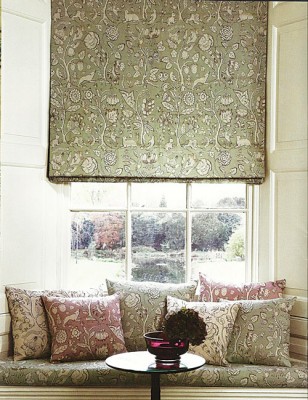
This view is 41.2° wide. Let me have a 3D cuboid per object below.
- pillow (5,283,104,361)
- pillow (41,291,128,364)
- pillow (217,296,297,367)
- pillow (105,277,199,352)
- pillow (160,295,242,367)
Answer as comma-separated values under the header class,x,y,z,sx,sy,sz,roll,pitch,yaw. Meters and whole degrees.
class,x,y,z,sx,sy,sz,roll,pitch,yaw
pillow,-0.677,0.830,2.710,0.517,0.307,0.168,-7,7,-19
pillow,-0.468,0.844,2.727,0.528,0.393,0.255,-1,-1,-15
pillow,0.672,0.873,2.687,0.469,0.384,0.152,-2,-26,15
pillow,-0.028,0.753,2.655,0.537,0.441,0.181,0,-34,-5
pillow,0.313,0.871,2.755,0.442,0.373,0.302,-2,-2,37
